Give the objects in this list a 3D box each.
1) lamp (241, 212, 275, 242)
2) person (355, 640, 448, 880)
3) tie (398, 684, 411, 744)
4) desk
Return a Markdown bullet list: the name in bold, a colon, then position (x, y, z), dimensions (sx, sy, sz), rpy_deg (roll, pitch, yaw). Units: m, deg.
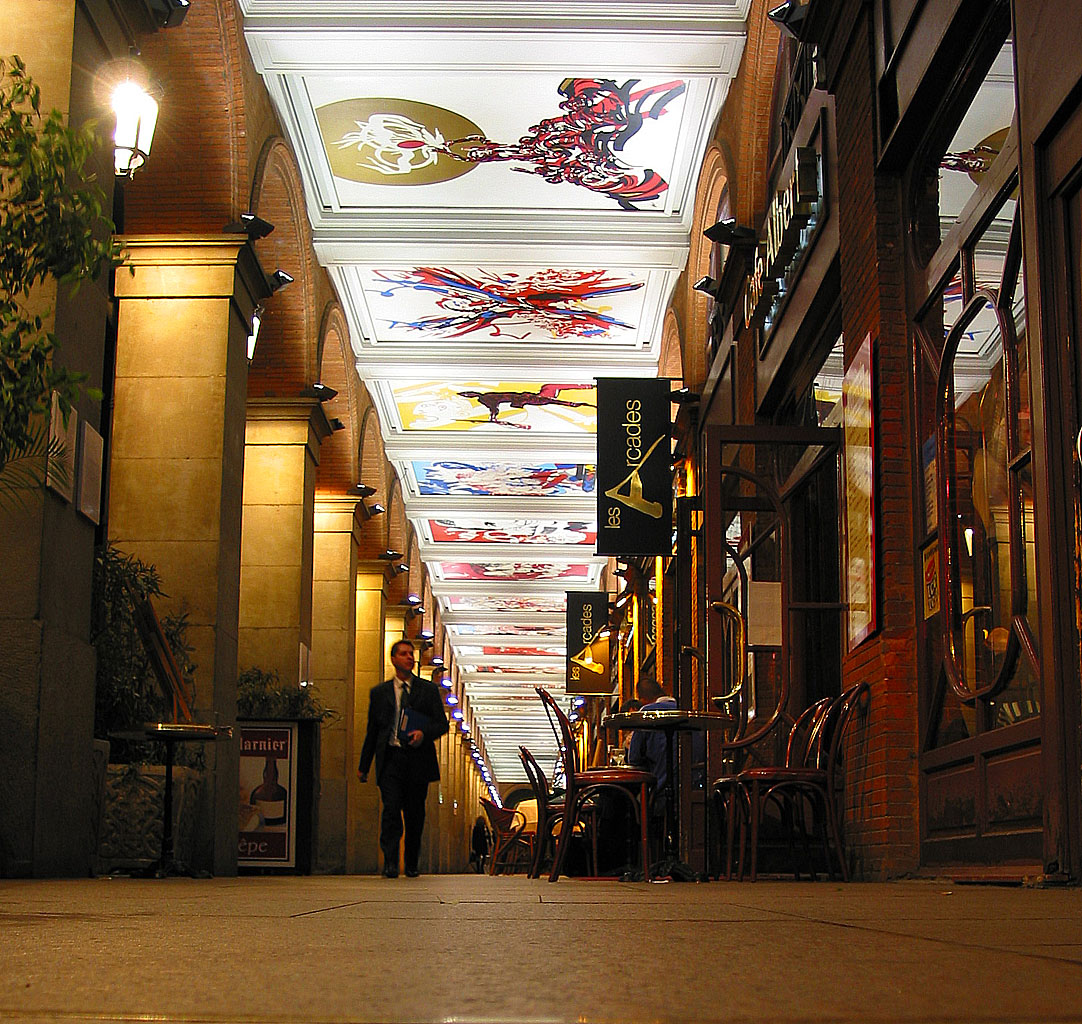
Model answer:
- **lamp**: position (-2.263, -2.267, 10.808), dimensions (0.197, 0.188, 0.259), rpy_deg (-13, -20, 36)
- **person**: position (-0.955, 1.715, 9.419), dimensions (0.587, 1.628, 1.025), rpy_deg (1, -15, -8)
- **tie**: position (-0.963, 1.388, 9.379), dimensions (0.100, 0.454, 0.094), rpy_deg (-1, -15, 0)
- **desk**: position (-2.206, 1.673, 7.949), dimensions (0.610, 0.962, 1.833), rpy_deg (3, -17, -17)
